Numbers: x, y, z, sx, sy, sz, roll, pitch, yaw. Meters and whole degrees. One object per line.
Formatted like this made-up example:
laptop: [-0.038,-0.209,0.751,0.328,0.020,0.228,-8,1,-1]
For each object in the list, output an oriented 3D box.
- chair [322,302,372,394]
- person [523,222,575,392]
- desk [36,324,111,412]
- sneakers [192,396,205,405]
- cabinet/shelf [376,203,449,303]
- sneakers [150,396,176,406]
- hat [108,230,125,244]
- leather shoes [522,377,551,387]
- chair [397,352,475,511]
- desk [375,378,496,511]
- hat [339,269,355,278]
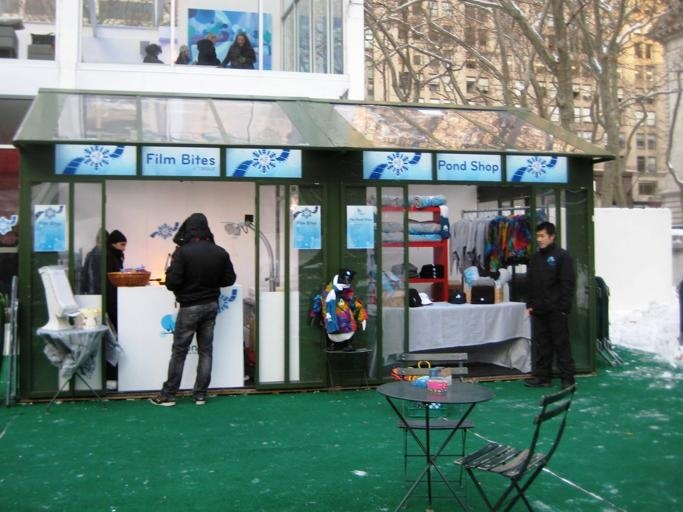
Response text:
chair: [0.106,1.463,10.896,0.720,0.900,0.735,2,-5,-19]
person: [3.063,0.728,11.123,0.785,2.392,0.486,4,9,29]
desk: [-3.599,1.489,10.340,0.703,0.806,0.750,-7,4,-2]
sneakers: [-1.929,1.963,10.418,0.173,0.088,0.191,-2,9,-10]
cabinet/shelf: [1.314,-0.151,12.660,0.727,1.323,0.420,10,1,-11]
sneakers: [-2.438,1.944,10.403,0.374,0.168,0.139,5,-4,19]
hat: [-3.297,-0.277,11.116,0.230,0.169,0.167,-3,2,35]
leather shoes: [2.919,1.877,11.363,0.378,0.178,0.147,3,-2,4]
chair: [1.059,1.819,9.247,1.161,1.752,1.256,0,-6,3]
desk: [0.923,1.842,7.919,1.199,1.320,1.191,1,-5,-6]
hat: [0.084,0.246,10.953,0.213,0.133,0.206,0,9,-1]
